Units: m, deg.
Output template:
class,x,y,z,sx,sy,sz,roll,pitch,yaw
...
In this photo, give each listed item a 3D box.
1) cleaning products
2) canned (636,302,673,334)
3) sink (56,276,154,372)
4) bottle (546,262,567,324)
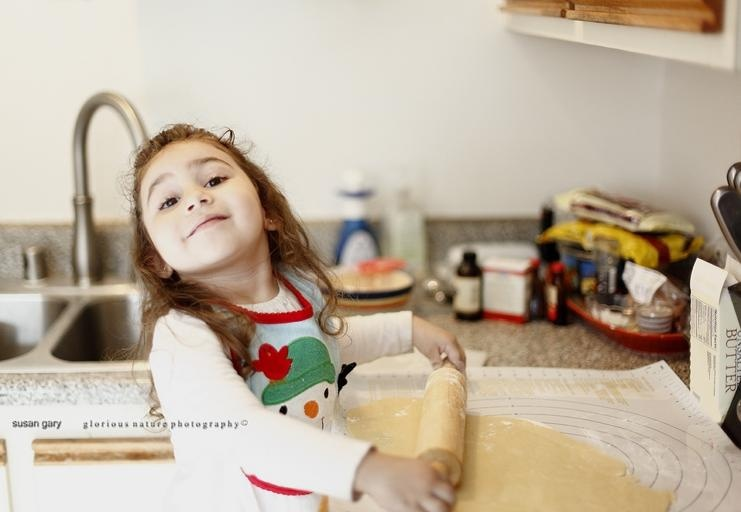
class,x,y,z,sx,sy,sz,roll,pitch,yaw
cleaning products,-0.038,-0.085,1.860,0.137,0.344,0.116,-6,34,-7
canned,0.667,0.147,1.401,0.065,0.049,0.066,-1,12,-8
sink,-0.637,0.202,1.426,0.196,0.105,0.252,0,29,-4
bottle,0.497,0.097,1.595,0.054,0.159,0.058,-5,10,1
